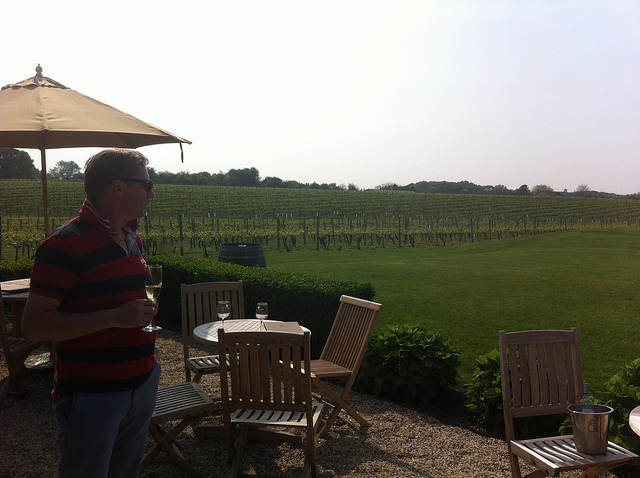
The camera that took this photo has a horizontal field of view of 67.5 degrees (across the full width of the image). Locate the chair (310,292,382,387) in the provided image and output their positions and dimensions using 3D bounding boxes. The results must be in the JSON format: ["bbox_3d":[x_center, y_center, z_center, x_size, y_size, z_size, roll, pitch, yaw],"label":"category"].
[{"bbox_3d":[0.266,1.152,5.576,0.752,0.884,0.878,0,2,-7],"label":"chair"}]

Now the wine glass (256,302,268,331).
[{"bbox_3d":[-0.647,0.823,5.297,0.108,0.278,0.354,0,2,-7],"label":"wine glass"}]

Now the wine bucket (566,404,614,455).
[{"bbox_3d":[2.069,1.435,3.705,0.347,0.338,0.347,-3,-1,0],"label":"wine bucket"}]

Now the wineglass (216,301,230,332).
[{"bbox_3d":[-1.008,0.791,5.130,0.144,0.401,0.164,-1,1,-5],"label":"wineglass"}]

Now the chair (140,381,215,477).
[{"bbox_3d":[-1.339,1.584,4.474,0.747,0.700,1.219,-1,2,-21],"label":"chair"}]

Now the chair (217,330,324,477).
[{"bbox_3d":[-0.425,1.357,4.650,0.927,1.945,1.309,0,2,5],"label":"chair"}]

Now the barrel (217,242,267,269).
[{"bbox_3d":[-1.805,0.314,11.071,0.642,0.708,0.673,0,2,-21],"label":"barrel"}]

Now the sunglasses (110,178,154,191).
[{"bbox_3d":[-1.204,-0.348,3.108,0.279,0.069,0.125,-1,2,-41],"label":"sunglasses"}]
